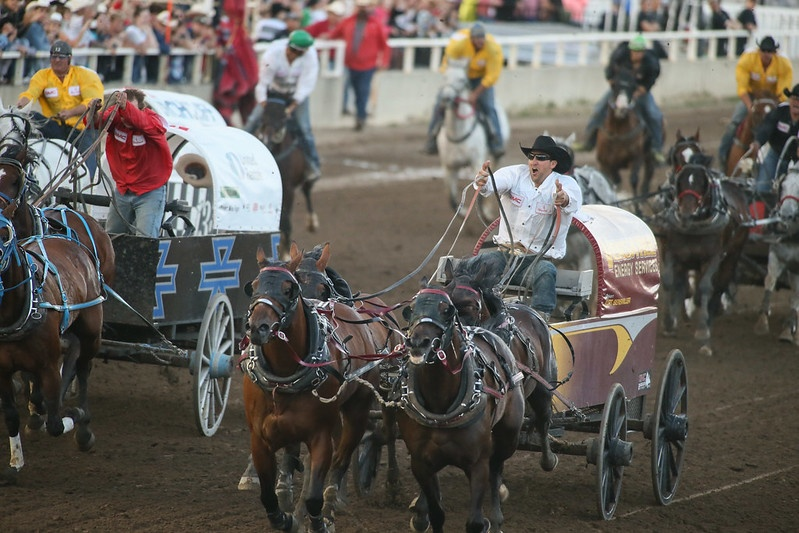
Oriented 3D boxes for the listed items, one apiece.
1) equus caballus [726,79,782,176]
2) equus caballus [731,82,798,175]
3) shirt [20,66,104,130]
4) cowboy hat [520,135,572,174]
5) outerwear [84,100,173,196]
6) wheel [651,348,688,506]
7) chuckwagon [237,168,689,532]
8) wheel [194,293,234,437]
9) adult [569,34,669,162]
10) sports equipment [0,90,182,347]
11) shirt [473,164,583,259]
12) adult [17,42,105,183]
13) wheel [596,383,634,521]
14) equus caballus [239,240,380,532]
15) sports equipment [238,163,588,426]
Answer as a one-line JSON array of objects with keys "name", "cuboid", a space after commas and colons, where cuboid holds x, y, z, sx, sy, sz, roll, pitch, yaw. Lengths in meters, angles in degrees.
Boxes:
[{"name": "equus caballus", "cuboid": [4.887, -1.870, 22.215, 0.296, 1.294, 0.832, 32, -12, -7]}, {"name": "equus caballus", "cuboid": [4.941, -1.824, 21.794, 0.292, 1.257, 0.855, 22, -20, -4]}, {"name": "shirt", "cuboid": [-3.963, -1.985, 19.402, 0.772, 0.622, 0.979, -1, 11, 0]}, {"name": "cowboy hat", "cuboid": [1.572, -1.291, 17.612, 0.499, 0.213, 0.594, 4, -6, -1]}, {"name": "outerwear", "cuboid": [-2.948, -1.370, 18.583, 0.833, 1.297, 0.972, 12, 15, 11]}, {"name": "wheel", "cuboid": [2.929, 1.799, 17.525, 0.319, 1.216, 1.216, 3, 31, 15]}, {"name": "chuckwagon", "cuboid": [1.125, 0.916, 17.351, 3.028, 3.319, 4.710, 3, 3, 40]}, {"name": "wheel", "cuboid": [-2.035, 1.113, 18.032, 0.364, 1.567, 0.855, 4, 12, 6]}, {"name": "adult", "cuboid": [3.432, -2.731, 24.411, 0.768, 1.296, 2.370, 12, 29, 9]}, {"name": "sports equipment", "cuboid": [-3.372, -0.435, 17.785, 1.457, 1.644, 3.565, -17, 46, 11]}, {"name": "shirt", "cuboid": [1.399, -0.573, 17.550, 1.012, 1.032, 0.975, 9, -4, 23]}, {"name": "adult", "cuboid": [-4.137, -1.708, 19.383, 1.370, 1.850, 1.005, -2, 1, -43]}, {"name": "wheel", "cuboid": [2.258, 1.951, 17.080, 0.337, 1.100, 1.110, 4, 22, 17]}, {"name": "equus caballus", "cuboid": [-0.892, 1.241, 16.399, 0.952, 2.840, 1.631, 11, 14, 35]}, {"name": "sports equipment", "cuboid": [0.258, -0.523, 17.677, 1.176, 3.099, 5.761, 6, 3, 16]}]
